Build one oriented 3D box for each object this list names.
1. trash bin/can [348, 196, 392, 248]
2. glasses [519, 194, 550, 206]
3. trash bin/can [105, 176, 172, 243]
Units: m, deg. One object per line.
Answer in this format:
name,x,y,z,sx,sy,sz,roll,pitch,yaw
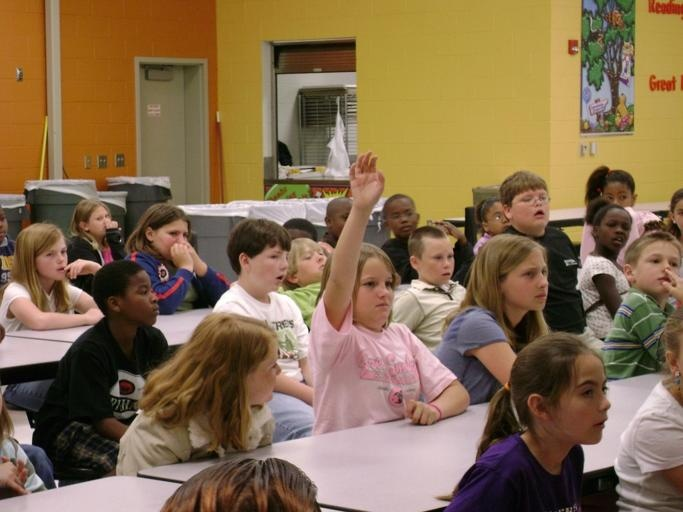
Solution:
trash bin/can,0.376,-0.363,8.789,0.365,0.764,0.424,2,7,25
glasses,1.227,-0.360,5.402,0.089,0.042,0.122,-4,-1,-18
trash bin/can,-2.516,-0.476,10.825,0.880,1.085,0.912,-1,-3,-25
